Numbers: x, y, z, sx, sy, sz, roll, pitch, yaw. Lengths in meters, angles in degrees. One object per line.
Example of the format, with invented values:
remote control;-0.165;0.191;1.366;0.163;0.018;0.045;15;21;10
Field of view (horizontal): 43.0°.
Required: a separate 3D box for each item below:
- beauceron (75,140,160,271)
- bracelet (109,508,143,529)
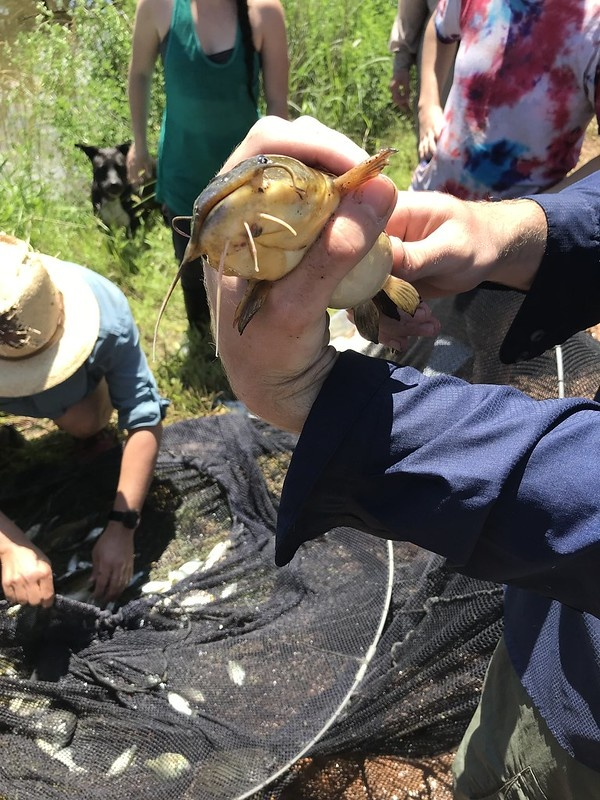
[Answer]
beauceron;-1.151;-1.282;5.023;0.567;0.919;0.481;-18;35;-29
bracelet;-0.607;0.411;2.673;0.096;0.059;0.103;1;-1;30
